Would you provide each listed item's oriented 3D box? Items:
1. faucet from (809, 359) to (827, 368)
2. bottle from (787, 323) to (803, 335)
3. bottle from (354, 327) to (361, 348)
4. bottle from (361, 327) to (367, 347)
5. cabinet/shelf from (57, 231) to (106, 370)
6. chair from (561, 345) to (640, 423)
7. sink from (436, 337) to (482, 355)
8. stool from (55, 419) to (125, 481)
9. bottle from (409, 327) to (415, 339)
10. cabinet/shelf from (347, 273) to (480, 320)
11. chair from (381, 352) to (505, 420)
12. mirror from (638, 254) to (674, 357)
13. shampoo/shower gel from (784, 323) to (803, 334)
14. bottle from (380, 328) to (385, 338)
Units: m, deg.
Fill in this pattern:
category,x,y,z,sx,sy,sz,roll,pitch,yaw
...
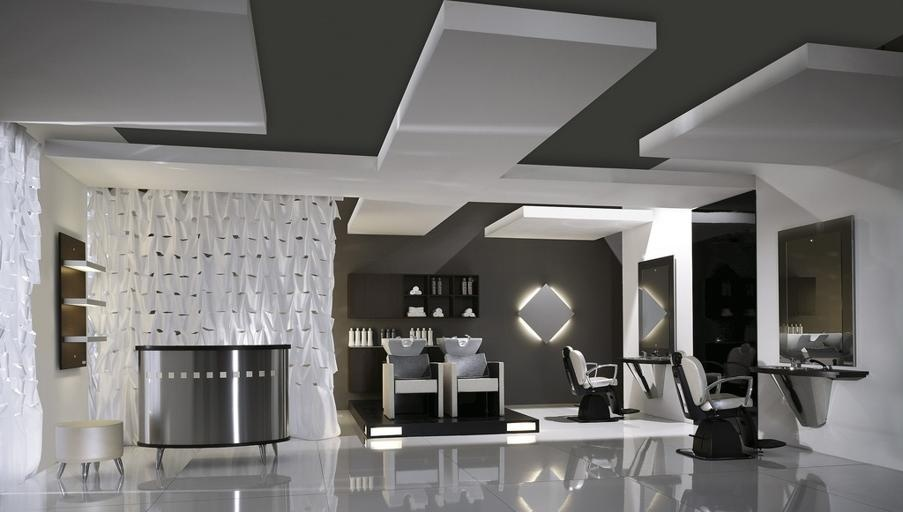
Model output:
category,x,y,z,sx,sy,sz,roll,pitch,yaw
faucet,5.228,1.529,9.249,0.148,0.072,0.090,6,-6,19
bottle,5.051,1.062,9.497,0.068,0.157,0.191,0,-1,-22
bottle,-1.881,1.629,13.014,0.107,0.317,0.179,-1,2,-8
bottle,-1.742,1.628,13.001,0.127,0.318,0.169,-1,2,-24
cabinet/shelf,-5.358,0.646,9.356,0.421,1.980,0.822,-1,2,-9
chair,2.796,2.393,12.046,1.643,1.460,1.261,2,-9,-9
sink,0.098,1.623,11.659,0.460,0.197,0.499,3,-13,-12
stool,-4.688,2.509,8.415,0.837,0.636,0.806,3,-7,-34
bottle,-0.788,1.557,13.168,0.152,0.241,0.145,0,-1,0
cabinet/shelf,-0.775,0.810,13.405,2.734,0.948,0.492,-1,2,-19
chair,-0.175,2.353,11.344,2.088,1.105,1.096,2,-13,-15
mirror,3.869,0.955,12.254,0.270,1.927,1.182,-1,2,-10
shampoo/shower gel,5.042,1.067,9.514,0.219,0.141,0.119,1,-1,4
bottle,-1.376,1.558,13.072,0.121,0.216,0.173,0,-2,-11
